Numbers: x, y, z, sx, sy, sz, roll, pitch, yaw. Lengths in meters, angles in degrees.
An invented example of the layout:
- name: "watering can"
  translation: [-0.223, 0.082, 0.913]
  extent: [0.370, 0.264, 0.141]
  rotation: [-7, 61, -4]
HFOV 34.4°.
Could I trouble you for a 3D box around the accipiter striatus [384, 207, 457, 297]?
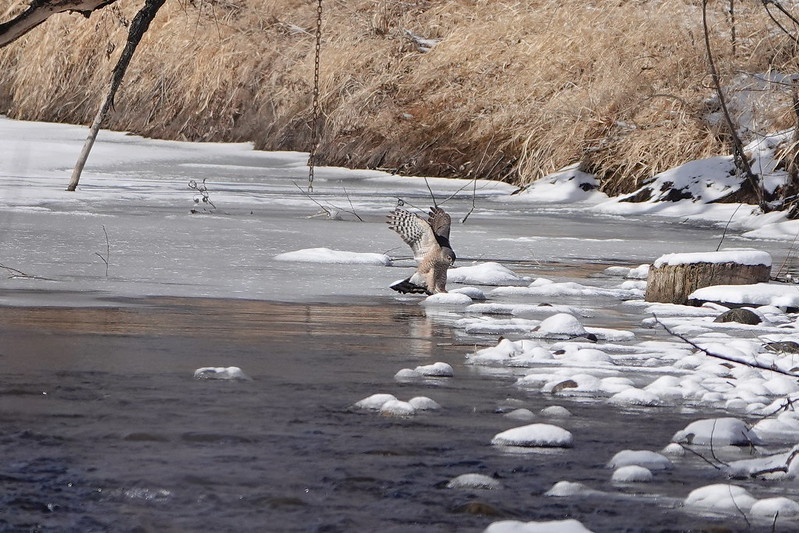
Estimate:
- name: "accipiter striatus"
  translation: [0.212, -0.143, 12.399]
  extent: [0.595, 0.845, 0.613]
  rotation: [1, 13, -1]
